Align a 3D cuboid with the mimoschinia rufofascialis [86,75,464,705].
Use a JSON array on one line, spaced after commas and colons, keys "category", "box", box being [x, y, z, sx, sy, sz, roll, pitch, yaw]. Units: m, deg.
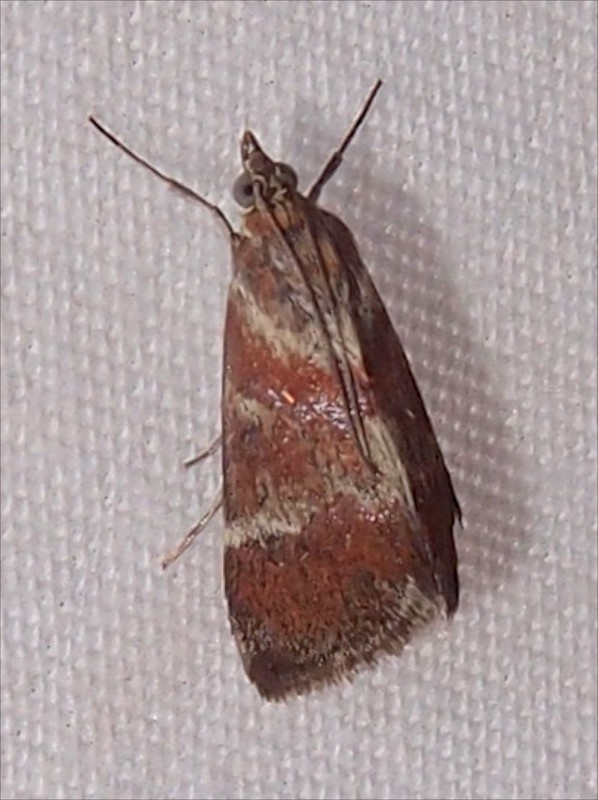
[{"category": "mimoschinia rufofascialis", "box": [0.035, -0.009, 1.744, 0.292, 0.142, 0.676, -8, 87, -2]}]
